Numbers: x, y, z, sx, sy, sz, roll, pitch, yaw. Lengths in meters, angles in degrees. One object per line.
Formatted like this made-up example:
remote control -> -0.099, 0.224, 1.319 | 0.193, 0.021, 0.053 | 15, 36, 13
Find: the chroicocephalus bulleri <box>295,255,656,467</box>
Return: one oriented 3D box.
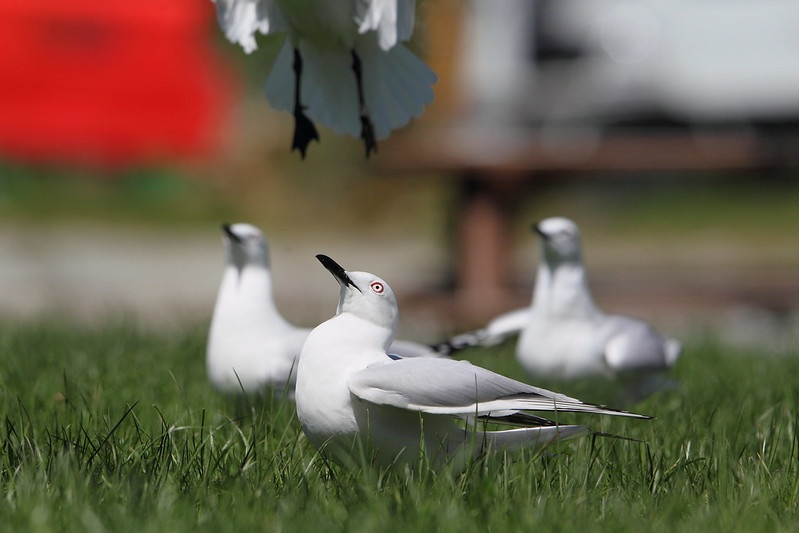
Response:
chroicocephalus bulleri -> 0.099, 0.557, 8.249 | 1.296, 1.001, 0.525 | 0, 20, 1
